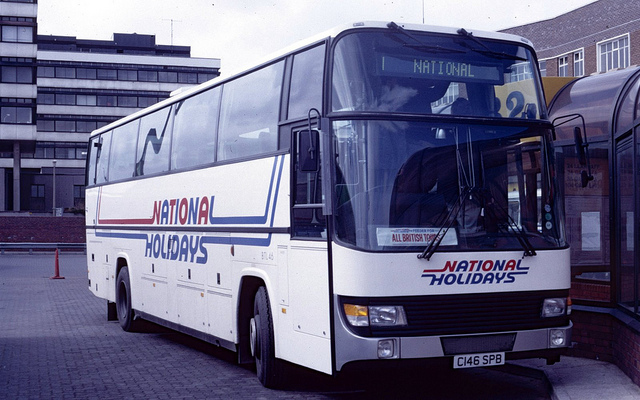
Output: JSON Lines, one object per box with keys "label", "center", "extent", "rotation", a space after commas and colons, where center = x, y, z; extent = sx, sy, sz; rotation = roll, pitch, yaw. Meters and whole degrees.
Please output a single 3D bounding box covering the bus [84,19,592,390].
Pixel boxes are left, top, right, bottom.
{"label": "bus", "center": [0.314, 0.369, 8.981], "extent": [2.601, 2.852, 7.429], "rotation": [0, -3, -27]}
